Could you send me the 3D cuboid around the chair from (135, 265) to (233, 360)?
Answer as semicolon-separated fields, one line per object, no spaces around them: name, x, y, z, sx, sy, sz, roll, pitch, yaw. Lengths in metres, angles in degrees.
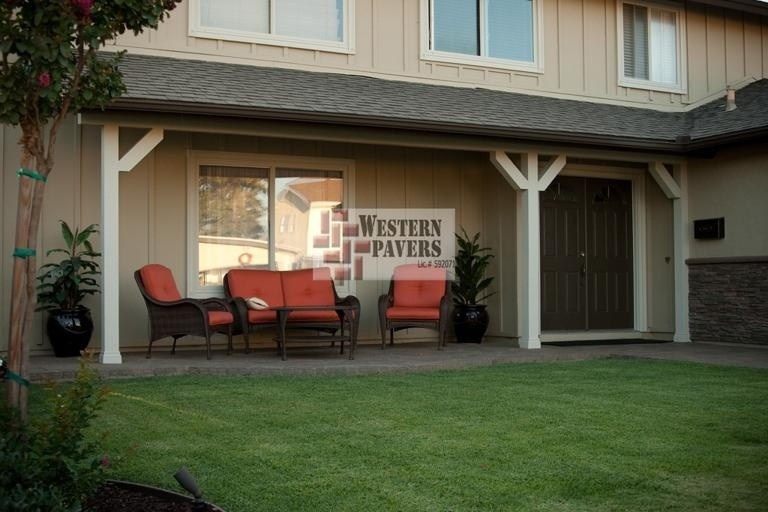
chair;-2.789;0.745;9.085;1.174;1.243;0.984;-1;-3;11

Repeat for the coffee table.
coffee table;-0.980;1.088;9.073;1.199;0.810;1.131;0;-3;-9

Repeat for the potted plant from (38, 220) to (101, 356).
potted plant;-4.412;0.437;9.077;0.807;1.872;0.784;-1;3;-29

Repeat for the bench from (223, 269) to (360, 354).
bench;-1.436;0.820;9.807;1.905;1.392;1.213;2;-3;-33

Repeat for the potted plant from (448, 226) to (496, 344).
potted plant;1.540;0.494;11.216;0.711;1.906;0.861;1;2;13

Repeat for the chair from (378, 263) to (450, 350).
chair;0.534;0.777;10.357;1.186;1.478;1.365;0;-6;19
